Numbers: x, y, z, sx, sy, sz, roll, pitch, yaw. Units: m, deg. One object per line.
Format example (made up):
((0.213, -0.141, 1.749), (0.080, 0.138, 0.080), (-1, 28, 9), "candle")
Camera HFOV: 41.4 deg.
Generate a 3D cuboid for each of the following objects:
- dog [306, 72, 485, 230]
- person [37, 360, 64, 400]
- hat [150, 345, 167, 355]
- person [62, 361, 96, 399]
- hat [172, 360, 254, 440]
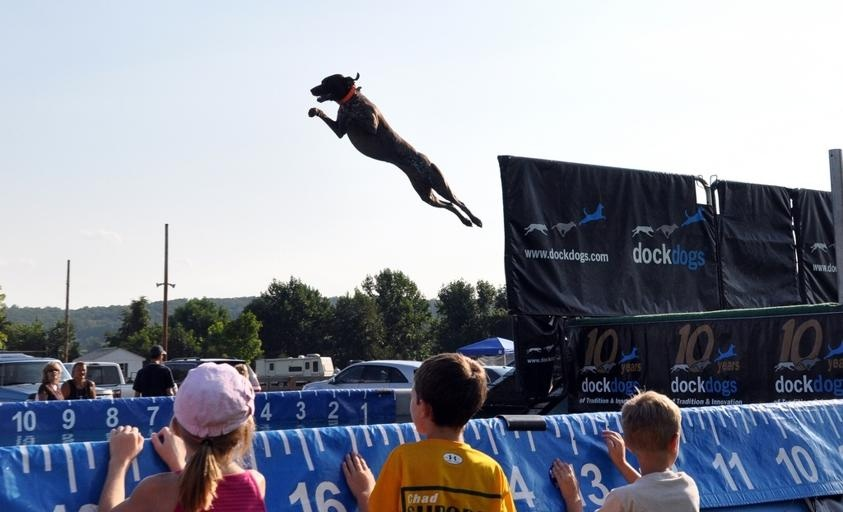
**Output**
((-0.643, -1.739, 15.869), (3.457, 0.779, 1.001), (40, -9, -19), "dog")
((-5.927, 1.991, 17.933), (0.379, 0.704, 1.048), (3, -12, -17), "person")
((-4.266, 1.511, 18.045), (0.200, 0.162, 0.280), (-1, 29, 0), "hat")
((-5.574, 2.031, 18.173), (0.512, 0.599, 0.720), (4, -12, -19), "person")
((-2.141, 1.494, 11.532), (0.790, 0.765, 0.242), (3, -12, -15), "hat")
